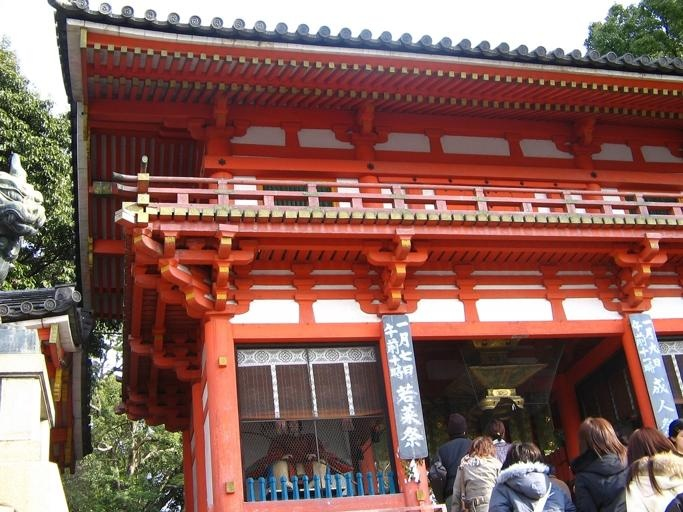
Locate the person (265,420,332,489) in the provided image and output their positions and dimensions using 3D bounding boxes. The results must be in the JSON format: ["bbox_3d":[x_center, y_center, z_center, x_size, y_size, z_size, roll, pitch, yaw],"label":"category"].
[{"bbox_3d":[-0.793,3.024,10.066,0.805,0.895,0.465,-2,-22,-9],"label":"person"}]

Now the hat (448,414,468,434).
[{"bbox_3d":[1.497,2.132,8.219,0.267,0.206,0.277,-2,-8,-5],"label":"hat"}]
